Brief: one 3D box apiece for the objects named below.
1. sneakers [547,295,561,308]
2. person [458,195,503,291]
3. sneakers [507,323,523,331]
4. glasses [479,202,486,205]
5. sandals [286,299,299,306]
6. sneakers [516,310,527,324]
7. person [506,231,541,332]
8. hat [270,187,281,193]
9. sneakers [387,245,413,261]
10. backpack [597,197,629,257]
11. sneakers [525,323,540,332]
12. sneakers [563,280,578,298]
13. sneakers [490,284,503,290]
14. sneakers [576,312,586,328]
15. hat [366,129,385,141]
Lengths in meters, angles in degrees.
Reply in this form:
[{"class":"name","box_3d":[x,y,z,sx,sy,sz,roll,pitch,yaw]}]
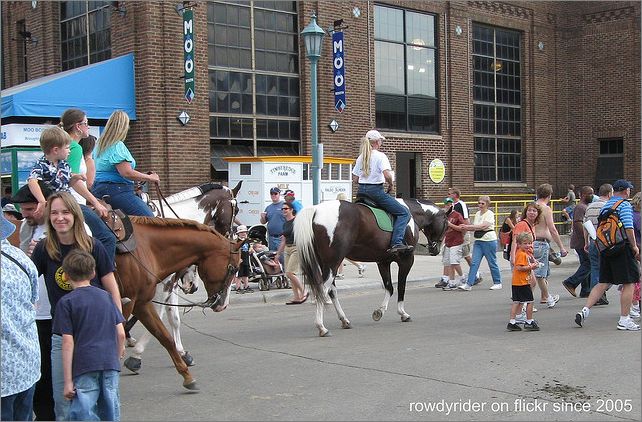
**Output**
[{"class":"sneakers","box_3d":[5.174,1.983,17.032,0.161,0.205,0.479,-24,7,36]},{"class":"person","box_3d":[4.232,0.857,19.903,0.999,2.494,1.203,0,7,14]},{"class":"sneakers","box_3d":[3.740,2.249,14.704,0.300,0.117,0.116,1,5,-13]},{"class":"glasses","box_3d":[4.144,-0.180,19.566,0.147,0.085,0.051,4,9,38]},{"class":"sandals","box_3d":[-0.680,2.187,18.082,0.288,0.069,0.108,3,-2,-30]},{"class":"sneakers","box_3d":[3.939,2.073,14.921,0.226,0.249,0.586,-3,-9,18]},{"class":"person","box_3d":[3.910,1.366,14.755,0.617,1.880,0.481,-1,7,1]},{"class":"hat","box_3d":[-1.160,-0.499,19.100,0.169,0.212,0.240,-1,2,14]},{"class":"sneakers","box_3d":[1.667,0.850,15.857,0.659,0.240,0.217,-1,0,1]},{"class":"backpack","box_3d":[5.644,0.306,14.717,0.541,1.008,0.424,1,7,20]},{"class":"sneakers","box_3d":[4.078,2.242,14.700,0.308,0.123,0.125,1,15,-12]},{"class":"sneakers","box_3d":[5.960,1.858,18.171,0.205,0.442,0.148,-30,31,15]},{"class":"sneakers","box_3d":[4.596,1.991,19.857,0.120,0.116,0.327,-4,-5,40]},{"class":"sneakers","box_3d":[5.037,2.108,14.792,0.160,0.335,0.122,-39,45,-1]},{"class":"hat","box_3d":[1.192,-1.591,16.063,0.371,0.167,0.257,-3,13,-27]}]
